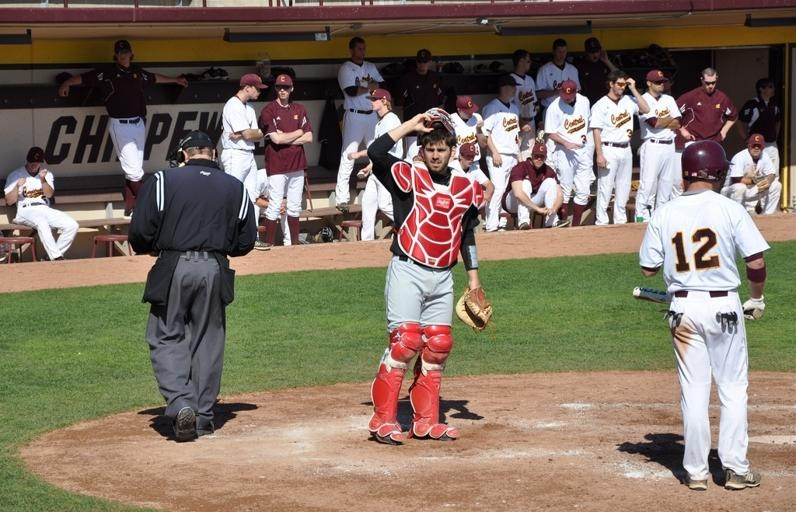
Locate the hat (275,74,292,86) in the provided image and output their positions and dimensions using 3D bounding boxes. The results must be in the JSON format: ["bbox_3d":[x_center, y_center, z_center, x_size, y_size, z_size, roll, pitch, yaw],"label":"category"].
[{"bbox_3d":[-1.689,-2.540,18.408,0.221,0.196,0.368,-1,6,-9],"label":"hat"}]

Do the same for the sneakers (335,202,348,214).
[{"bbox_3d":[-0.891,-0.771,19.565,0.181,0.173,0.321,-1,6,-3],"label":"sneakers"}]

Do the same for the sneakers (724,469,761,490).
[{"bbox_3d":[3.253,2.106,12.124,0.394,0.166,0.144,-5,6,-20],"label":"sneakers"}]

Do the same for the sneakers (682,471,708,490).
[{"bbox_3d":[2.830,2.119,12.180,0.228,0.159,0.124,1,6,12],"label":"sneakers"}]

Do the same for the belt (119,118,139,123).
[{"bbox_3d":[-3.984,-2.011,18.769,0.274,0.068,0.047,-4,7,-32],"label":"belt"}]

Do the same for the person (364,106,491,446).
[{"bbox_3d":[0.236,0.175,13.066,1.173,3.351,0.577,-1,6,-6],"label":"person"}]

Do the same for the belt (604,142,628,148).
[{"bbox_3d":[3.305,-1.701,19.382,0.339,0.073,0.073,-2,6,-12],"label":"belt"}]

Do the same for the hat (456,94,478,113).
[{"bbox_3d":[0.951,-2.286,19.207,0.373,0.190,0.267,27,43,33],"label":"hat"}]

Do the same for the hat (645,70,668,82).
[{"bbox_3d":[3.873,-2.767,19.441,0.227,0.165,0.289,-9,17,-33],"label":"hat"}]

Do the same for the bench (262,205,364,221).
[{"bbox_3d":[-1.097,-0.695,19.967,0.956,0.236,0.776,-1,6,-5],"label":"bench"}]

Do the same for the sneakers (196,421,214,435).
[{"bbox_3d":[-2.030,1.764,13.204,0.119,0.143,0.160,0,-4,14],"label":"sneakers"}]

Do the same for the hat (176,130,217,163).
[{"bbox_3d":[-2.181,-1.184,13.541,0.339,0.346,0.422,0,11,-24],"label":"hat"}]

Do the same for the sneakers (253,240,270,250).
[{"bbox_3d":[-2.037,-0.171,18.366,0.335,0.141,0.114,1,3,34],"label":"sneakers"}]

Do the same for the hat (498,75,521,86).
[{"bbox_3d":[1.714,-2.735,19.747,0.266,0.122,0.182,-2,7,-14],"label":"hat"}]

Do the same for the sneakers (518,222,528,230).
[{"bbox_3d":[1.903,-0.493,19.533,0.167,0.104,0.138,0,6,4],"label":"sneakers"}]

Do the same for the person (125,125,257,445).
[{"bbox_3d":[-2.222,0.267,13.346,0.825,3.134,0.978,4,8,40],"label":"person"}]

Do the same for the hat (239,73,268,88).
[{"bbox_3d":[-2.083,-2.461,18.005,0.383,0.176,0.237,1,17,-10],"label":"hat"}]

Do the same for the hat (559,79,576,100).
[{"bbox_3d":[2.608,-2.560,19.689,0.239,0.347,0.311,0,6,4],"label":"hat"}]

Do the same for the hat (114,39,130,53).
[{"bbox_3d":[-4.133,-3.113,18.872,0.230,0.222,0.332,-2,6,-15],"label":"hat"}]

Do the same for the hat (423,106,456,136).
[{"bbox_3d":[0.438,-1.384,13.058,0.210,0.270,0.364,3,7,31],"label":"hat"}]

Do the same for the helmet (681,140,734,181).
[{"bbox_3d":[2.945,-0.940,12.359,0.483,0.333,0.349,-7,16,-11],"label":"helmet"}]

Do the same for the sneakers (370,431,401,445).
[{"bbox_3d":[-0.122,1.841,13.016,0.348,0.133,0.121,3,12,19],"label":"sneakers"}]

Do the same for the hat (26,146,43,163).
[{"bbox_3d":[-5.319,-1.488,18.491,0.205,0.125,0.251,5,9,-24],"label":"hat"}]

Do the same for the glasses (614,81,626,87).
[{"bbox_3d":[3.360,-2.629,19.373,0.199,0.118,0.076,-3,6,-21],"label":"glasses"}]

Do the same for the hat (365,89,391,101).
[{"bbox_3d":[-0.312,-2.356,18.250,0.326,0.152,0.225,3,1,-7],"label":"hat"}]

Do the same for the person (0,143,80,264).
[{"bbox_3d":[-5.185,-0.778,18.247,1.068,1.567,0.637,5,8,42],"label":"person"}]

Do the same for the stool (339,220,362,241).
[{"bbox_3d":[-0.755,-0.426,19.938,0.345,0.490,0.359,0,-6,3],"label":"stool"}]

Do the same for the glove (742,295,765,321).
[{"bbox_3d":[3.462,0.468,12.461,0.150,0.141,0.333,4,9,14],"label":"glove"}]

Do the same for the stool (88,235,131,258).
[{"bbox_3d":[-4.288,-0.175,18.740,0.347,0.268,0.326,-3,7,-25],"label":"stool"}]

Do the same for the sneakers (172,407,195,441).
[{"bbox_3d":[-2.233,1.691,13.030,0.174,0.381,0.191,3,23,-18],"label":"sneakers"}]
